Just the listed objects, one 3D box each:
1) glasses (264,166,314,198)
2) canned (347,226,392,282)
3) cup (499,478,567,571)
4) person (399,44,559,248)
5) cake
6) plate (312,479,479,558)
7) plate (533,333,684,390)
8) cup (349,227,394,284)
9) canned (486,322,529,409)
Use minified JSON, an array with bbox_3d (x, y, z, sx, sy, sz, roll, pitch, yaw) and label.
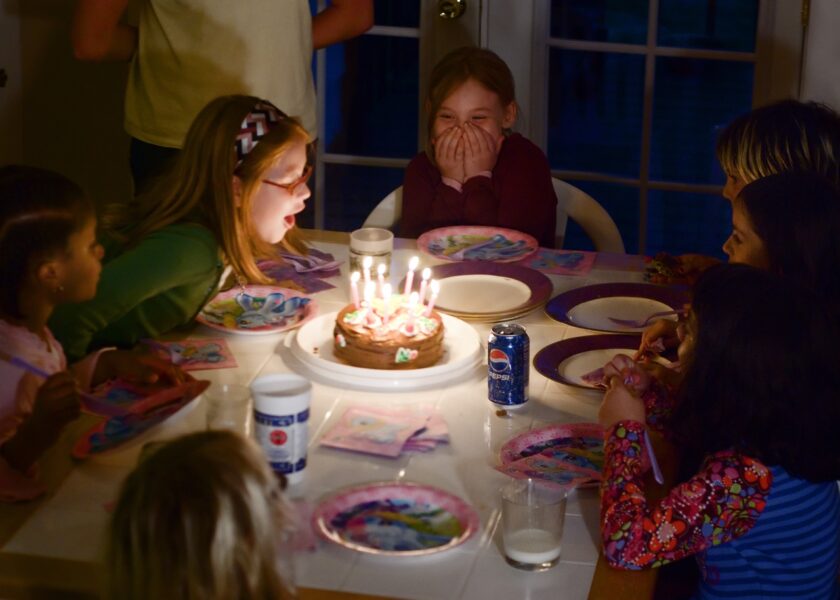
[{"bbox_3d":[-0.458,-0.384,2.186,0.119,0.035,0.119,7,32,12],"label":"glasses"},{"bbox_3d":[-0.180,-0.164,2.344,0.154,0.164,0.156,15,26,24],"label":"canned"},{"bbox_3d":[0.209,0.416,1.192,0.117,0.123,0.130,0,2,26],"label":"cup"},{"bbox_3d":[0.290,-0.683,2.910,0.688,0.844,0.259,7,12,9],"label":"person"},{"bbox_3d":[-0.090,0.095,1.883,0.302,0.106,0.307,3,26,4],"label":"cake"},{"bbox_3d":[-0.047,0.413,1.222,0.316,0.052,0.182,6,12,4],"label":"plate"},{"bbox_3d":[0.492,0.184,1.783,0.332,0.044,0.340,7,22,35],"label":"plate"},{"bbox_3d":[-0.173,-0.168,2.365,0.164,0.173,0.165,2,28,-1],"label":"cup"},{"bbox_3d":[0.230,0.176,1.675,0.141,0.197,0.139,-2,6,-6],"label":"canned"}]
